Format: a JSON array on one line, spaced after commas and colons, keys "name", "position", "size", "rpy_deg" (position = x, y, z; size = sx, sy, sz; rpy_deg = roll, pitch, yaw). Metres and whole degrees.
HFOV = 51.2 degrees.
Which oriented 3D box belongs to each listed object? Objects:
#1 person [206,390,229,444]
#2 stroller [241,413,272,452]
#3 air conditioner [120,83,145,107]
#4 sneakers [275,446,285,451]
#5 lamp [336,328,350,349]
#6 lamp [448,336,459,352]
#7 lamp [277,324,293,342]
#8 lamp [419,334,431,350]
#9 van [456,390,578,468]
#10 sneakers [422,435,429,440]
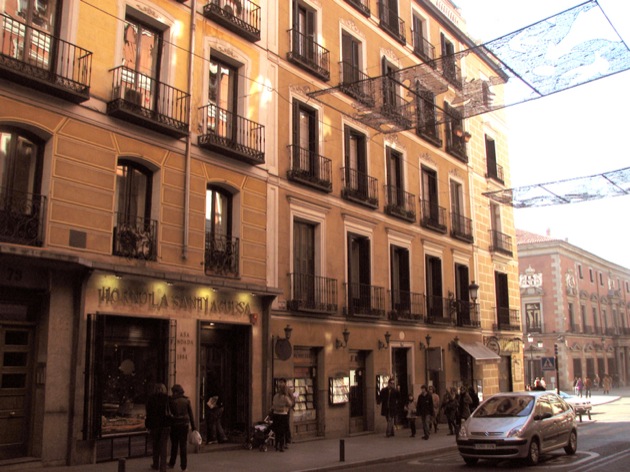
[{"name": "person", "position": [-3.192, 5.814, 21.082], "size": [0.542, 1.569, 0.585], "rpy_deg": [-1, -18, -4]}, {"name": "stroller", "position": [-1.730, 6.351, 21.062], "size": [0.675, 1.132, 1.190], "rpy_deg": [-3, -15, 11]}, {"name": "air conditioner", "position": [-5.542, -4.287, 19.835], "size": [0.409, 0.814, 0.792], "rpy_deg": [-9, -13, 29]}, {"name": "sneakers", "position": [-1.090, 6.753, 20.905], "size": [0.126, 0.179, 0.395], "rpy_deg": [-2, -2, 45]}, {"name": "lamp", "position": [1.069, 3.975, 25.628], "size": [0.534, 0.833, 0.826], "rpy_deg": [-4, -19, 6]}, {"name": "lamp", "position": [6.750, 5.180, 31.870], "size": [0.304, 0.733, 0.820], "rpy_deg": [-15, -23, 35]}, {"name": "lamp", "position": [-1.014, 3.370, 22.961], "size": [0.527, 0.865, 0.376], "rpy_deg": [-8, -11, 32]}, {"name": "lamp", "position": [4.994, 4.798, 29.815], "size": [0.497, 0.712, 0.577], "rpy_deg": [-9, -20, 20]}, {"name": "van", "position": [6.152, 5.660, 19.475], "size": [1.981, 1.519, 3.381], "rpy_deg": [-14, -24, 35]}, {"name": "sneakers", "position": [4.185, 7.615, 24.791], "size": [0.140, 0.271, 0.438], "rpy_deg": [3, -21, -10]}]
